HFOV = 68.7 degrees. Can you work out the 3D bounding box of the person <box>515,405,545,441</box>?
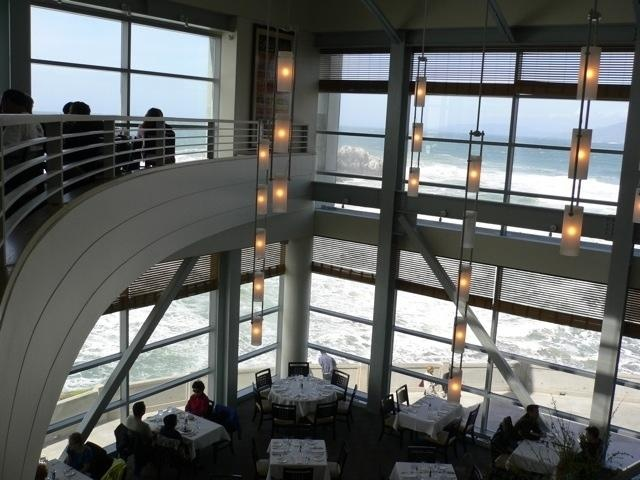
[{"bbox_3d":[4.223,3.707,9.357,0.521,0.817,0.321,1,15,-4],"label":"person"}]
